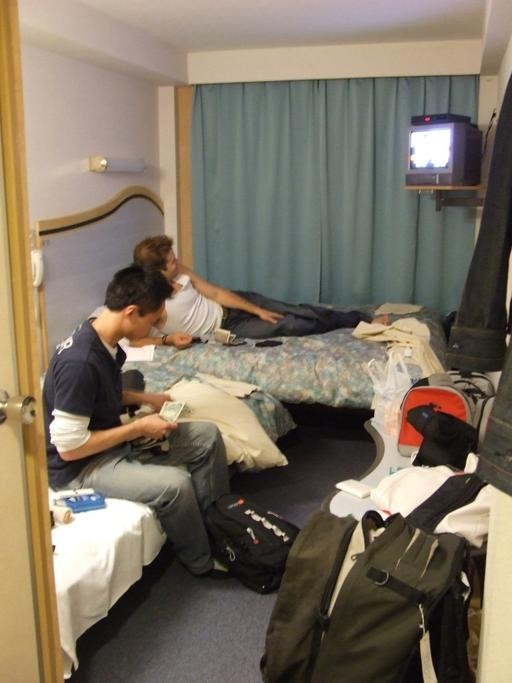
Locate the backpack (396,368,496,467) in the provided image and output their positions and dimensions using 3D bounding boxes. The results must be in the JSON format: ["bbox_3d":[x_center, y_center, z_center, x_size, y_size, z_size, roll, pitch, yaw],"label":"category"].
[{"bbox_3d":[0.733,0.199,1.961,0.358,0.338,0.336,11,18,5],"label":"backpack"}]

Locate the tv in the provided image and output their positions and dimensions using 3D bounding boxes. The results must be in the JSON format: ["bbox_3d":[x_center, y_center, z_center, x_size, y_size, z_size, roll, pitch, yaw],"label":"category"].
[{"bbox_3d":[1.334,-1.323,3.745,0.522,0.493,0.432,2,13,11],"label":"tv"}]

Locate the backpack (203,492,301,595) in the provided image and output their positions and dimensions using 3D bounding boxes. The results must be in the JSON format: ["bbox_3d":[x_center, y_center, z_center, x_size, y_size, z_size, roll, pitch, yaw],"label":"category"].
[{"bbox_3d":[-0.029,0.780,1.996,0.362,0.117,0.278,26,48,33],"label":"backpack"}]

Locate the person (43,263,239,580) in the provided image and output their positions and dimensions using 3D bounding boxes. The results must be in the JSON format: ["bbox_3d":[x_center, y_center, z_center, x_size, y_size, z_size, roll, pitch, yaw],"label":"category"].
[{"bbox_3d":[-0.436,0.280,2.027,0.669,1.122,0.524,-4,13,-15],"label":"person"}]

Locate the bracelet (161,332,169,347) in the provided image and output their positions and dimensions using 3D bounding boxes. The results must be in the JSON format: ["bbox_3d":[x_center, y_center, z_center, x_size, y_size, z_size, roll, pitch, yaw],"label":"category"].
[{"bbox_3d":[-0.552,-0.009,3.261,0.027,0.062,0.044,-1,-7,29],"label":"bracelet"}]

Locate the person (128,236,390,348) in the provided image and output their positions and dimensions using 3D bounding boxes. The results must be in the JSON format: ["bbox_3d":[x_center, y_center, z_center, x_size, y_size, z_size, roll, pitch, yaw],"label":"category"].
[{"bbox_3d":[0.063,-0.240,3.526,1.353,0.549,0.851,1,28,6],"label":"person"}]
